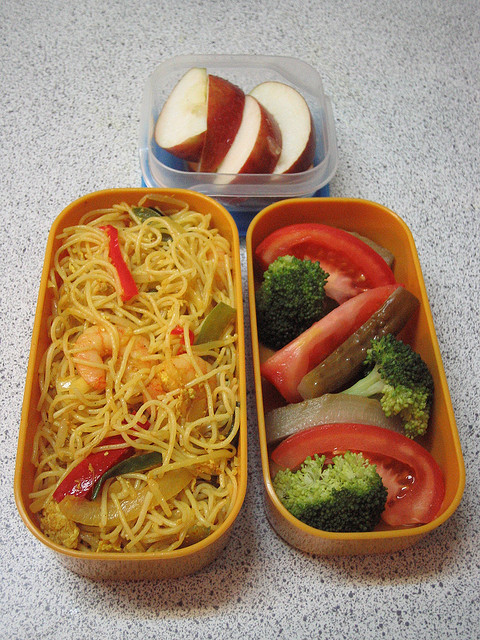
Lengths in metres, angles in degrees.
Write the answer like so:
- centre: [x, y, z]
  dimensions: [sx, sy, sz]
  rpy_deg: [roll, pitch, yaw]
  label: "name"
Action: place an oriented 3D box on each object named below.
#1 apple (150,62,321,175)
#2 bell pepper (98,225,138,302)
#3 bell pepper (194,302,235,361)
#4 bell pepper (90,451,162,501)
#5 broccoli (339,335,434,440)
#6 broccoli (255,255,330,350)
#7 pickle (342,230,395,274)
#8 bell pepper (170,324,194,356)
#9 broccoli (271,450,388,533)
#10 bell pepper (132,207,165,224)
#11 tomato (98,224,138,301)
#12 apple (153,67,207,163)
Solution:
- centre: [-0.012, -0.542, 1.745]
  dimensions: [0.446, 0.132, 0.347]
  rpy_deg: [2, 89, -6]
  label: "apple"
- centre: [-0.319, -0.162, 1.666]
  dimensions: [0.044, 0.040, 0.259]
  rpy_deg: [-17, 60, -9]
  label: "bell pepper"
- centre: [-0.065, 0.014, 1.603]
  dimensions: [0.047, 0.093, 0.118]
  rpy_deg: [31, 65, 17]
  label: "bell pepper"
- centre: [-0.257, 0.352, 1.433]
  dimensions: [0.197, 0.025, 0.034]
  rpy_deg: [-21, 48, -14]
  label: "bell pepper"
- centre: [0.388, 0.150, 1.560]
  dimensions: [0.210, 0.123, 0.229]
  rpy_deg: [25, 63, 14]
  label: "broccoli"
- centre: [0.129, -0.039, 1.669]
  dimensions: [0.198, 0.070, 0.227]
  rpy_deg: [14, 90, 14]
  label: "broccoli"
- centre: [0.380, -0.207, 1.843]
  dimensions: [0.148, 0.097, 0.173]
  rpy_deg: [-9, 27, -15]
  label: "pickle"
- centre: [-0.140, 0.052, 1.590]
  dimensions: [0.057, 0.048, 0.074]
  rpy_deg: [-10, 60, -5]
  label: "bell pepper"
- centre: [0.203, 0.375, 1.398]
  dimensions: [0.190, 0.103, 0.204]
  rpy_deg: [4, 30, 12]
  label: "broccoli"
- centre: [-0.250, -0.285, 1.749]
  dimensions: [0.075, 0.019, 0.042]
  rpy_deg: [-8, 62, -1]
  label: "bell pepper"
- centre: [-0.315, -0.131, 1.713]
  dimensions: [0.079, 0.338, 0.063]
  rpy_deg: [27, 75, 1]
  label: "tomato"
- centre: [-0.160, -0.585, 1.842]
  dimensions: [0.159, 0.239, 0.183]
  rpy_deg: [-3, 16, 21]
  label: "apple"
